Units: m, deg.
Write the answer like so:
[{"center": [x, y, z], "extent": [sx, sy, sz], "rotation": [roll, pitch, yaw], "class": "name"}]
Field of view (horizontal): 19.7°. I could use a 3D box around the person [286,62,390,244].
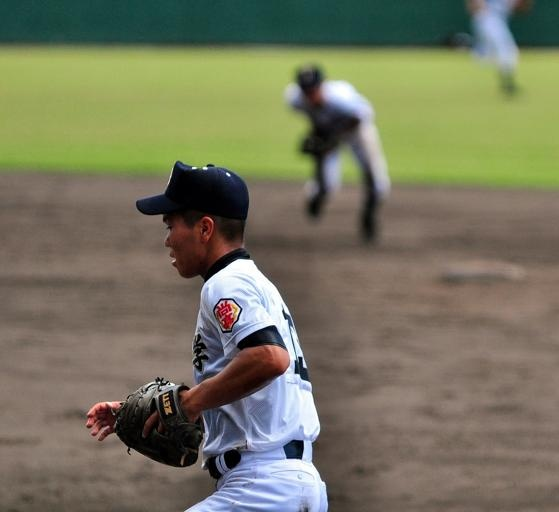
[{"center": [0.697, -1.177, 18.224], "extent": [1.012, 2.355, 0.966], "rotation": [-2, 33, 13], "class": "person"}]
